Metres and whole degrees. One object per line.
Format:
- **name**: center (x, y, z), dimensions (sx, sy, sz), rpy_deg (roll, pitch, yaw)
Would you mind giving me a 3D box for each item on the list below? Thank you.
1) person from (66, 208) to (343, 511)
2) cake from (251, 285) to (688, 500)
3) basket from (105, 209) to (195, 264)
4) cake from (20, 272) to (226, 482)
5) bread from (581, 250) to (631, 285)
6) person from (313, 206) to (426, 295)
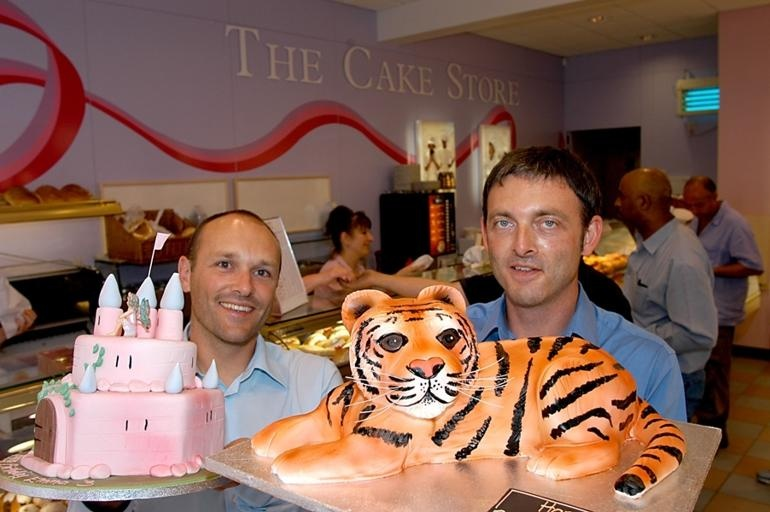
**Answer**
- **person**: center (-0.672, 0.435, 2.943), dimensions (1.128, 0.800, 1.253), rpy_deg (1, -2, 0)
- **cake**: center (0.266, 0.415, 1.710), dimensions (0.932, 0.444, 0.623), rpy_deg (-2, 12, -9)
- **basket**: center (-1.898, -0.119, 4.679), dimensions (0.593, 0.388, 0.578), rpy_deg (-1, 2, -44)
- **cake**: center (-0.946, 0.394, 1.968), dimensions (0.652, 0.638, 0.328), rpy_deg (0, 7, 6)
- **bread**: center (1.968, 0.096, 4.809), dimensions (0.293, 0.099, 0.308), rpy_deg (8, 14, 38)
- **person**: center (-0.170, 0.055, 5.029), dimensions (0.854, 0.398, 0.896), rpy_deg (-2, 5, 4)
